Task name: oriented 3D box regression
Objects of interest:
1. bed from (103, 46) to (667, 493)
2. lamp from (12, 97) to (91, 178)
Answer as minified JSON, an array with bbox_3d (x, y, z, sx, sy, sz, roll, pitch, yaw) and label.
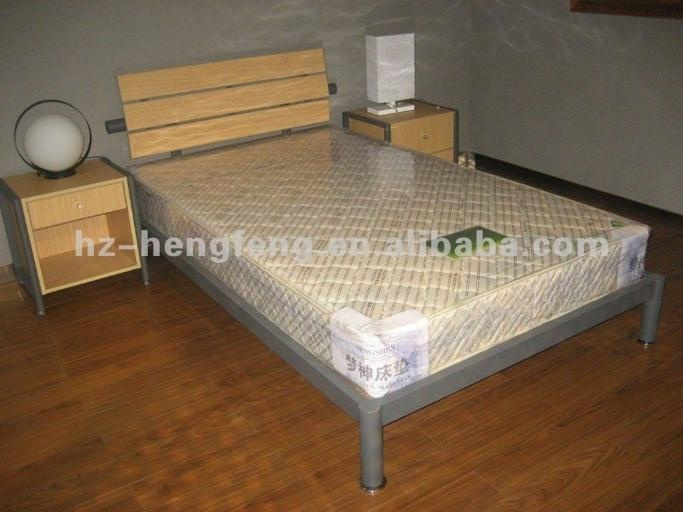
[{"bbox_3d":[-0.156,-0.105,3.376,2.331,1.406,3.266,-19,35,-27],"label":"bed"},{"bbox_3d":[-1.952,-0.773,3.219,0.507,0.495,0.362,-18,32,-36],"label":"lamp"}]
